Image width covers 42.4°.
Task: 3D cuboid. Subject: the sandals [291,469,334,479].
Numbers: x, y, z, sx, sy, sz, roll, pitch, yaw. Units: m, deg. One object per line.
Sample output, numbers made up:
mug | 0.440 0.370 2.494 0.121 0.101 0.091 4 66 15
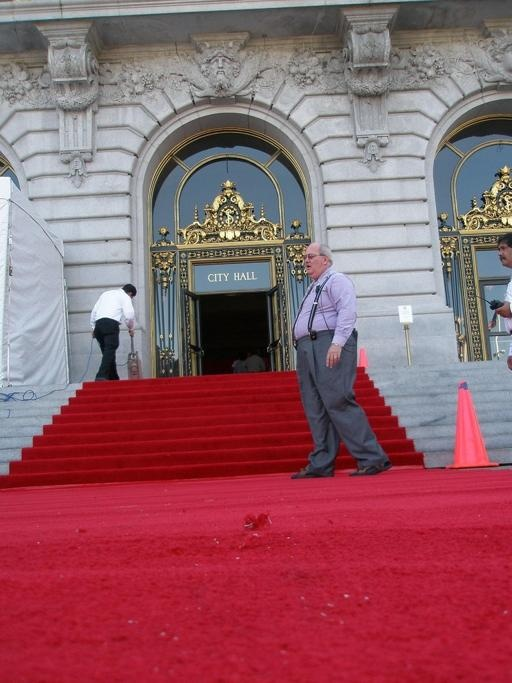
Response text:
sandals | 0.375 0.876 4.373 0.267 0.095 0.095 2 -7 -2

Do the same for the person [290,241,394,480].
person | 0.573 0.203 4.513 0.610 1.361 0.860 -3 9 4

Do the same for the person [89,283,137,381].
person | -2.152 -0.102 10.071 0.712 1.462 1.162 -5 9 -11
